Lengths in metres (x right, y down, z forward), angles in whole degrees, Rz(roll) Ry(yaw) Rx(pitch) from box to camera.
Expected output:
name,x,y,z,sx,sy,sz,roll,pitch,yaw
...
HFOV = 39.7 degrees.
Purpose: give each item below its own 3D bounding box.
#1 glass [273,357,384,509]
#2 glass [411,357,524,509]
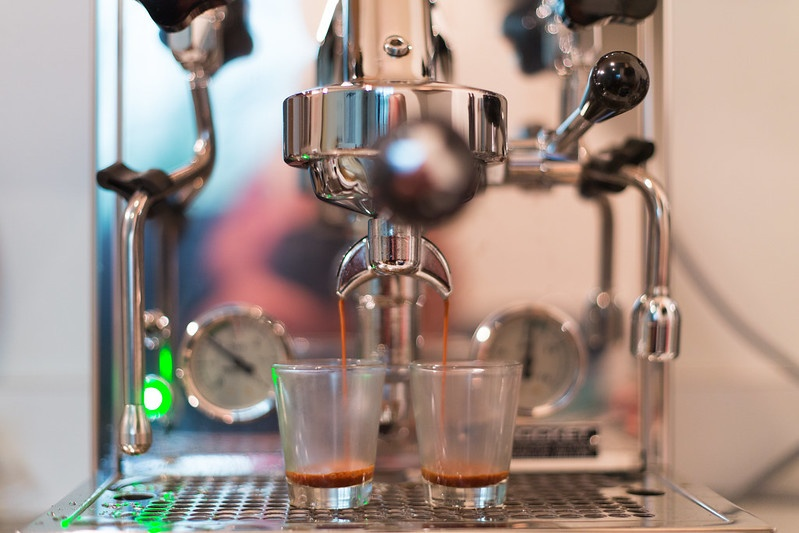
name,x,y,z,sx,sy,sz,roll,pitch,yaw
glass,-0.080,0.196,1.280,0.129,0.153,0.134,0,-6,-14
glass,0.067,0.198,1.288,0.127,0.153,0.134,4,-4,-2
